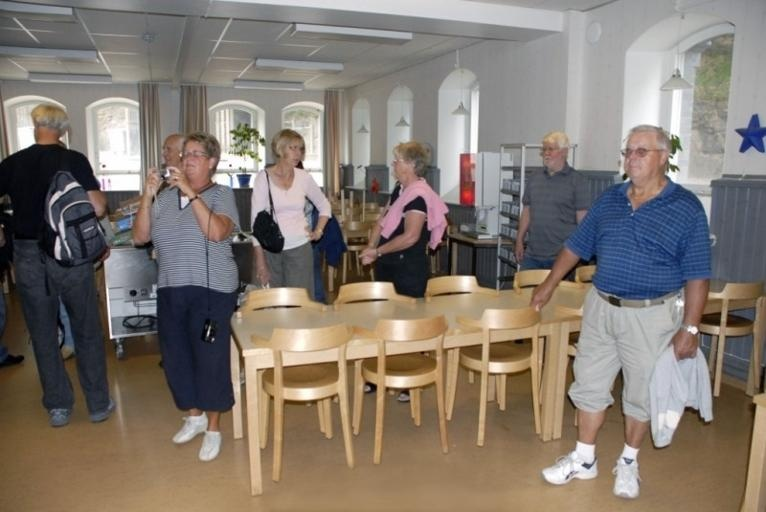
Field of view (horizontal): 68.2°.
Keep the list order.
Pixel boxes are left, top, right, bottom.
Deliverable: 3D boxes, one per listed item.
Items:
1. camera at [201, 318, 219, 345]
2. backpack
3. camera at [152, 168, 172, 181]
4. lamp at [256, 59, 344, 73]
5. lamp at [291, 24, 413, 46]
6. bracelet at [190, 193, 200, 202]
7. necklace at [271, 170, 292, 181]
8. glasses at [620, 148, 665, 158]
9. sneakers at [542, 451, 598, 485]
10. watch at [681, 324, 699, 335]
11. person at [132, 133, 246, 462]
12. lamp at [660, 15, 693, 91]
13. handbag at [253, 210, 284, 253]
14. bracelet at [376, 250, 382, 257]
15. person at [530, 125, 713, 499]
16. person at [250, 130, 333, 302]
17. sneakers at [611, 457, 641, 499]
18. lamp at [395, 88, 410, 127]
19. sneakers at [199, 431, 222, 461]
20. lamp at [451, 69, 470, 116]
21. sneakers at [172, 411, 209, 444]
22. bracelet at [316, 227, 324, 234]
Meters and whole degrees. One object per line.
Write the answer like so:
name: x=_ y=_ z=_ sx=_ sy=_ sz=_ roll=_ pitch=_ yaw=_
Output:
camera: x=-1.202 y=0.531 z=3.977 sx=0.107 sy=0.178 sz=0.094 roll=-2 pitch=11 yaw=4
backpack: x=-2.379 y=-0.287 z=4.378 sx=0.425 sy=0.750 sz=0.213 roll=-9 pitch=13 yaw=-31
camera: x=-1.496 y=-0.579 z=3.927 sx=0.090 sy=0.090 sz=0.023 roll=-2 pitch=-4 yaw=23
lamp: x=-1.541 y=-3.578 z=10.537 sx=1.575 sy=0.185 sz=0.352 roll=-7 pitch=11 yaw=-21
lamp: x=-0.441 y=-3.159 z=8.020 sx=1.693 sy=0.180 sz=0.677 roll=-7 pitch=11 yaw=-23
bracelet: x=-1.288 y=-0.404 z=3.924 sx=0.059 sy=0.041 sz=0.028 roll=-11 pitch=13 yaw=-35
necklace: x=-0.834 y=-0.680 z=4.768 sx=0.117 sy=0.056 sz=0.089 roll=4 pitch=6 yaw=39
glasses: x=1.691 y=-0.675 z=3.674 sx=0.210 sy=0.066 sz=0.057 roll=0 pitch=11 yaw=19
sneakers: x=1.320 y=1.489 z=4.088 sx=0.441 sy=0.208 sz=0.178 roll=-3 pitch=12 yaw=-8
watch: x=1.956 y=0.470 z=3.598 sx=0.061 sy=0.036 sz=0.070 roll=8 pitch=2 yaw=-13
person: x=-1.373 y=0.116 z=4.136 sx=0.631 sy=1.988 sz=0.490 roll=0 pitch=11 yaw=15
lamp: x=3.236 y=-2.235 z=6.226 sx=0.271 sy=0.797 sz=1.003 roll=3 pitch=12 yaw=27
handbag: x=-0.928 y=-0.203 z=4.708 sx=0.252 sy=0.339 sz=0.120 roll=-12 pitch=6 yaw=6
bracelet: x=-0.022 y=-0.030 z=4.852 sx=0.041 sy=0.058 sz=0.017 roll=-1 pitch=5 yaw=7
person: x=1.661 y=0.391 z=3.863 sx=0.943 sy=2.506 sz=0.507 roll=3 pitch=12 yaw=30
person: x=-0.814 y=-0.133 z=5.006 sx=0.627 sy=1.908 sz=0.489 roll=-1 pitch=29 yaw=-12
sneakers: x=1.666 y=1.529 z=3.873 sx=0.159 sy=0.123 sz=0.300 roll=0 pitch=15 yaw=13
lamp: x=0.447 y=-3.135 z=11.886 sx=0.357 sy=0.800 sz=0.725 roll=-1 pitch=11 yaw=9
sneakers: x=-1.277 y=1.416 z=4.255 sx=0.116 sy=0.242 sz=0.097 roll=2 pitch=-21 yaw=2
lamp: x=1.351 y=-2.842 z=9.790 sx=0.261 sy=0.749 sz=0.760 roll=-1 pitch=11 yaw=9
sneakers: x=-1.487 y=1.348 z=4.513 sx=0.350 sy=0.151 sz=0.170 roll=-10 pitch=16 yaw=-40
bracelet: x=-0.528 y=-0.219 z=4.920 sx=0.042 sy=0.032 sz=0.046 roll=8 pitch=9 yaw=12
